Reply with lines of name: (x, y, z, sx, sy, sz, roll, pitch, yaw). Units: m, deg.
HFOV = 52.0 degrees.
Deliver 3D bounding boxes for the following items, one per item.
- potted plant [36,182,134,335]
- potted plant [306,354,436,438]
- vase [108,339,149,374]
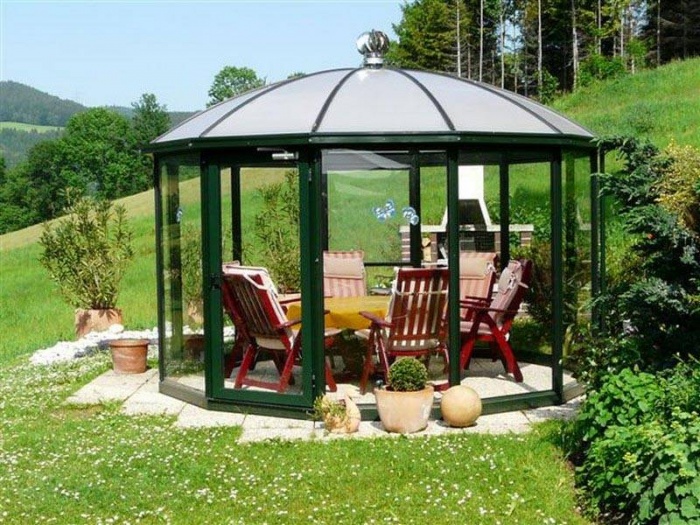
potted plant: (-4.592, 0.041, 12.727, 1.488, 2.657, 1.311, -3, 8, -14)
potted plant: (0.349, 1.465, 8.174, 1.072, 0.818, 0.753, -7, -3, 17)
vase: (-3.196, 1.353, 10.440, 0.437, 0.403, 0.490, 0, -6, -5)
